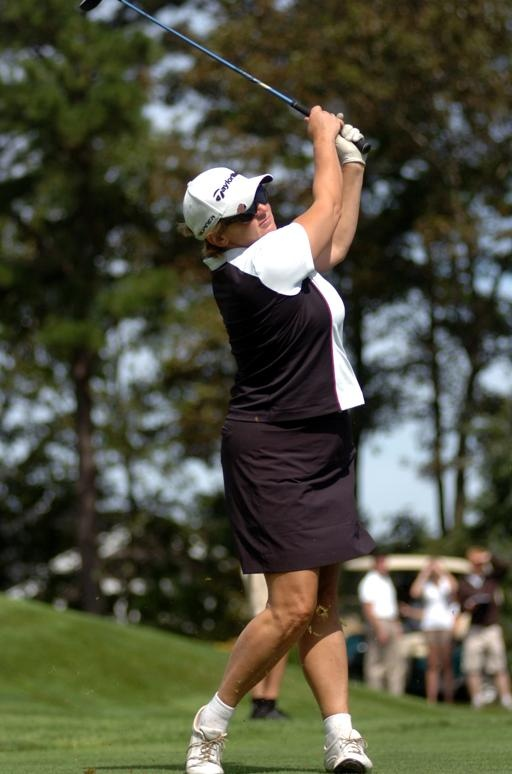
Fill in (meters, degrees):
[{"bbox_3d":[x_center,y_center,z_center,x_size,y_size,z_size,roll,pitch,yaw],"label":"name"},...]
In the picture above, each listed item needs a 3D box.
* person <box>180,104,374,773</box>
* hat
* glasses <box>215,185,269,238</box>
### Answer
[{"bbox_3d":[0.095,0.119,3.470,0.647,2.063,0.461,0,-4,-16],"label":"person"},{"bbox_3d":[-0.105,-0.572,3.425,0.267,0.151,0.189,-32,22,24],"label":"hat"},{"bbox_3d":[-0.049,-0.514,3.440,0.159,0.043,0.149,-21,12,37],"label":"glasses"}]
